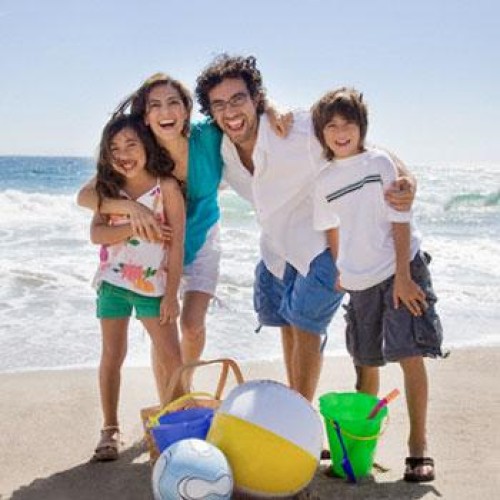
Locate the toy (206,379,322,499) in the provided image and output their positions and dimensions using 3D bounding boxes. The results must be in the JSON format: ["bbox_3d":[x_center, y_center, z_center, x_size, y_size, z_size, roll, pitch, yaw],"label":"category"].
[{"bbox_3d":[0.063,0.736,2.158,0.435,0.446,0.290,8,11,18],"label":"toy"}]

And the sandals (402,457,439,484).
[{"bbox_3d":[0.779,1.019,2.550,0.127,0.094,0.126,1,-15,2],"label":"sandals"}]

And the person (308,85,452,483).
[{"bbox_3d":[0.641,0.142,2.771,0.738,1.877,0.336,6,8,42],"label":"person"}]

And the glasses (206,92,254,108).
[{"bbox_3d":[-0.107,-0.788,2.950,0.202,0.094,0.046,1,6,3],"label":"glasses"}]

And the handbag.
[{"bbox_3d":[-0.294,0.732,2.673,0.602,0.574,0.367,0,-12,-19],"label":"handbag"}]

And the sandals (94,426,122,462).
[{"bbox_3d":[-0.702,0.996,2.819,0.158,0.177,0.126,-8,-13,24],"label":"sandals"}]
